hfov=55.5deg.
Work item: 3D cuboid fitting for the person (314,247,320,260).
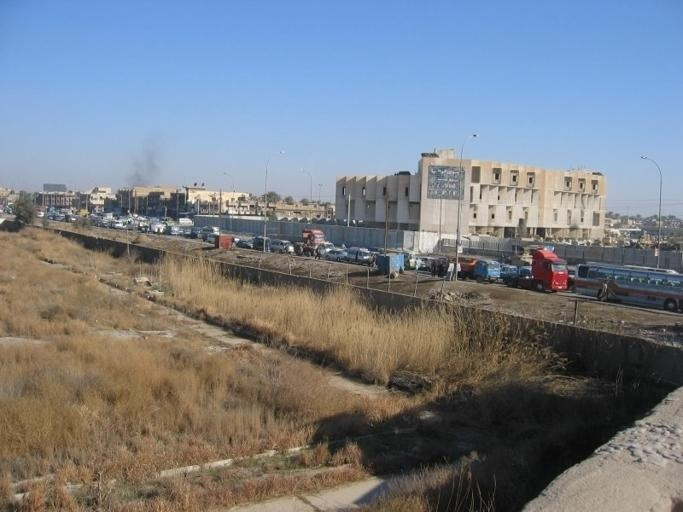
[{"bbox_3d":[-2.328,-0.351,63.311,0.467,1.038,1.294,-3,8,-10],"label":"person"}]

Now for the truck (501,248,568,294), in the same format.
[{"bbox_3d":[13.174,1.137,44.765,1.927,3.308,5.847,1,-2,-21],"label":"truck"}]

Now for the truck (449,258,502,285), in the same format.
[{"bbox_3d":[9.993,1.026,47.691,1.696,1.661,3.202,-1,2,-31],"label":"truck"}]
